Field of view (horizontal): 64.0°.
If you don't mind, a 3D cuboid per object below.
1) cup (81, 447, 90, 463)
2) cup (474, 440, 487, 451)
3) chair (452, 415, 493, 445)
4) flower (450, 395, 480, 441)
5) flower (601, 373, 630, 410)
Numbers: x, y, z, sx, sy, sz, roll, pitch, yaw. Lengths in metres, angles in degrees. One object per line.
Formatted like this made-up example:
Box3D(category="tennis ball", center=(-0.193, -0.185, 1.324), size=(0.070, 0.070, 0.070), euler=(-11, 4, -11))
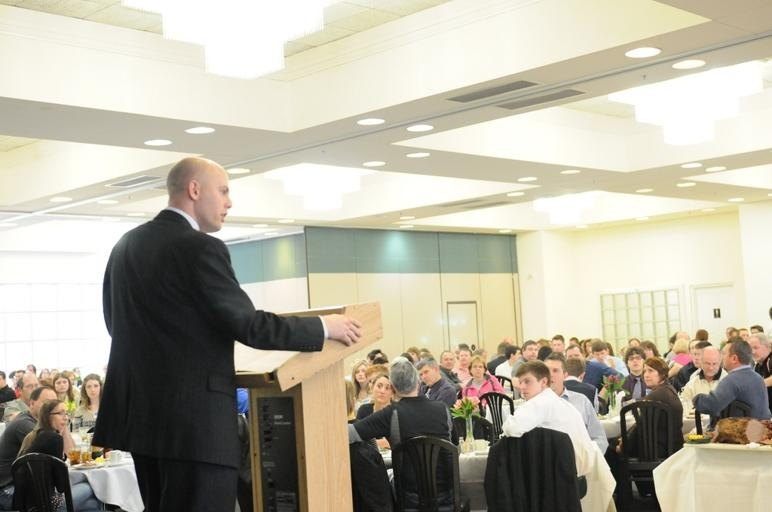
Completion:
Box3D(category="cup", center=(-3.317, 2.210, 6.789), size=(0.099, 0.110, 0.100), euler=(-1, -10, 0))
Box3D(category="cup", center=(0.943, 1.897, 6.137), size=(0.143, 0.142, 0.101), euler=(1, 0, 3))
Box3D(category="chair", center=(0.910, 1.880, 6.602), size=(0.464, 0.448, 0.255), euler=(-2, -10, 14))
Box3D(category="flower", center=(0.862, 1.760, 6.548), size=(0.341, 0.482, 0.383), euler=(-1, -7, -17))
Box3D(category="flower", center=(3.057, 1.820, 8.317), size=(0.255, 0.411, 0.231), euler=(-3, 0, 42))
